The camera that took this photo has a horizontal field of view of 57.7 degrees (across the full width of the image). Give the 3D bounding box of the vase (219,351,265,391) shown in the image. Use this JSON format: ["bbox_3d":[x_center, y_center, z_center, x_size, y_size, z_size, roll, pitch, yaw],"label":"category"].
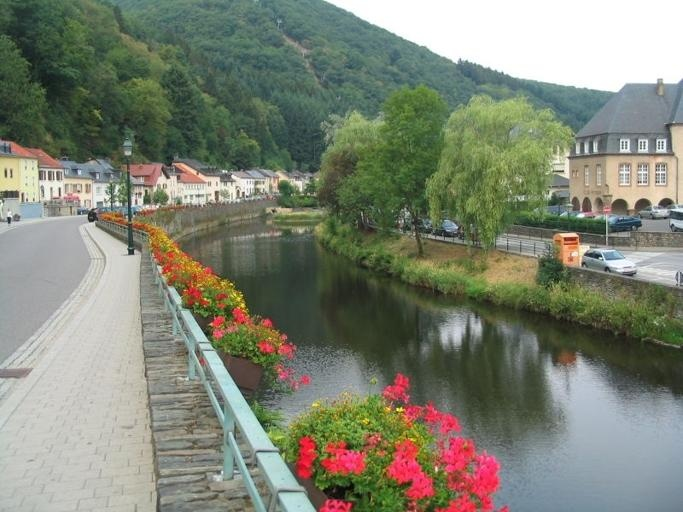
[{"bbox_3d":[-1.810,2.015,11.065,0.792,0.607,0.472,8,17,-4],"label":"vase"}]

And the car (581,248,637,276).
[{"bbox_3d":[13.525,0.292,31.554,1.378,0.999,3.036,-4,11,-17],"label":"car"}]
